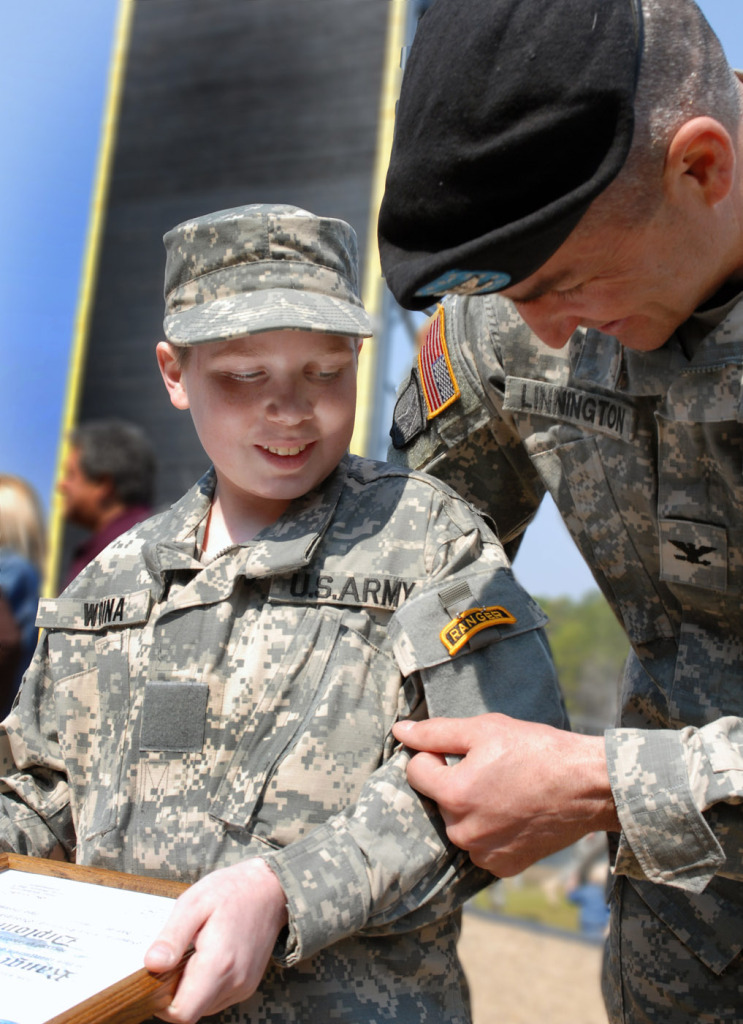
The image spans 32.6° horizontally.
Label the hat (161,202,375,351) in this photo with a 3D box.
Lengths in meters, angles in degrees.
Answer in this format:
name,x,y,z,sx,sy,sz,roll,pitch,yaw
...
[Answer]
name,x,y,z,sx,sy,sz,roll,pitch,yaw
hat,-0.147,-0.309,1.705,0.239,0.127,0.264,0,2,-13
